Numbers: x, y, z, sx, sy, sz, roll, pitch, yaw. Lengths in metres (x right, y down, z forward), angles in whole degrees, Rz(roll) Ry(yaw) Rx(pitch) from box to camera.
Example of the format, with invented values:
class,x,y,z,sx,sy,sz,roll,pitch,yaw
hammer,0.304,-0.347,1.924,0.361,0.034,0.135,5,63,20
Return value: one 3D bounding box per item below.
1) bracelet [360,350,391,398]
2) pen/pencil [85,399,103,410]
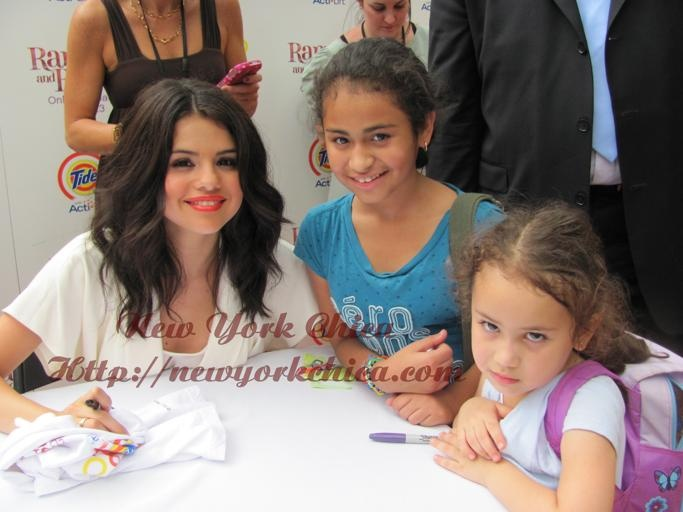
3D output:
class,x,y,z,sx,sy,sz,roll,pitch,yaw
bracelet,0.099,0.357,1.787,0.069,0.155,0.192,-10,-6,9
pen/pencil,-0.659,0.391,1.583,0.029,0.010,0.029,27,5,24
